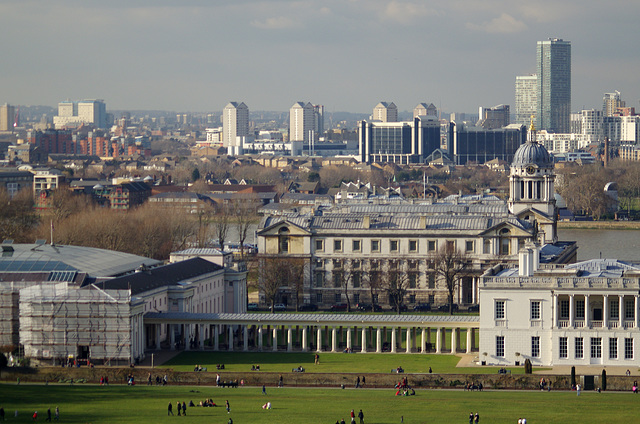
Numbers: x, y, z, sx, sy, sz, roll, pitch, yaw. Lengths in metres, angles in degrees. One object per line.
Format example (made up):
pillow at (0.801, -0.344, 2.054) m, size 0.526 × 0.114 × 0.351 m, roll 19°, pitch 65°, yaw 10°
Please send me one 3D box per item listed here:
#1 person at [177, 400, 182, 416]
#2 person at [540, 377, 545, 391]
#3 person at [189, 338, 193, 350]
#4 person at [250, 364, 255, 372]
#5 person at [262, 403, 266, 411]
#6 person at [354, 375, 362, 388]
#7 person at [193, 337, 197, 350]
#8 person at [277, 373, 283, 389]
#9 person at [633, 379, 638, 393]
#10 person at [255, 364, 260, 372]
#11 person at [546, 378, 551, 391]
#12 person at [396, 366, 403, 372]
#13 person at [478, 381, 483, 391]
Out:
person at (-13.849, 18.886, 193.058) m, size 0.458 × 1.172 × 1.115 m, roll -1°, pitch 1°, yaw -6°
person at (22.459, 17.238, 200.945) m, size 0.458 × 1.070 × 0.547 m, roll -1°, pitch 1°, yaw 5°
person at (-14.277, 14.189, 216.237) m, size 0.481 × 1.030 × 0.878 m, roll -1°, pitch 1°, yaw -4°
person at (-7.155, 16.059, 206.764) m, size 0.441 × 0.688 × 0.479 m, roll 3°, pitch 2°, yaw 8°
person at (-5.598, 18.816, 194.344) m, size 0.429 × 0.447 × 0.881 m, roll -1°, pitch 1°, yaw -6°
person at (3.744, 17.032, 202.248) m, size 0.772 × 1.186 × 0.561 m, roll -2°, pitch 1°, yaw -27°
person at (-13.824, 14.114, 216.568) m, size 0.490 × 1.082 × 0.943 m, roll -1°, pitch 1°, yaw -3°
person at (-4.186, 17.013, 202.752) m, size 0.563 × 1.171 × 1.063 m, roll -1°, pitch 1°, yaw -3°
person at (31.839, 17.415, 199.937) m, size 0.471 × 1.111 × 1.006 m, roll -1°, pitch 1°, yaw 6°
person at (-6.691, 16.095, 206.471) m, size 0.444 × 0.686 × 0.408 m, roll 0°, pitch 6°, yaw 2°
person at (23.131, 17.265, 200.921) m, size 0.440 × 1.014 × 0.538 m, roll 0°, pitch 2°, yaw 34°
person at (8.167, 16.095, 204.513) m, size 0.494 × 0.810 × 0.503 m, roll 2°, pitch 3°, yaw -26°
person at (16.124, 17.430, 201.127) m, size 0.245 × 0.939 × 0.518 m, roll -1°, pitch 42°, yaw 10°
